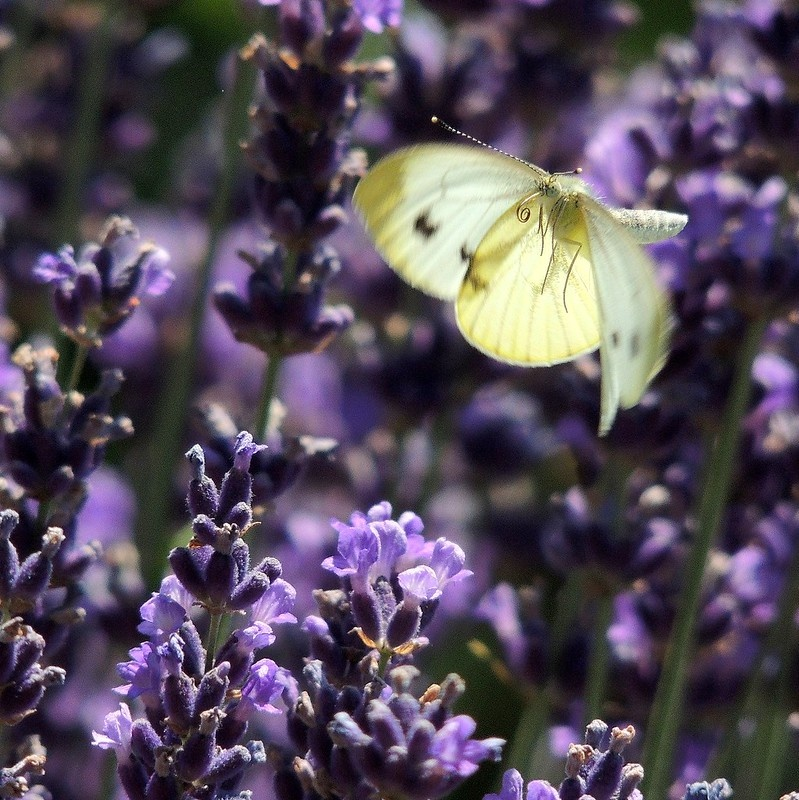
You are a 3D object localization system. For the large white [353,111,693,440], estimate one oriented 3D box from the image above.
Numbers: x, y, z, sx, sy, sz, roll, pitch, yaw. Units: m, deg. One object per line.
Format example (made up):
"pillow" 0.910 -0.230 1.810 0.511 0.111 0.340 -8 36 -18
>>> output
"large white" 0.177 -0.188 2.078 0.502 0.266 0.378 37 -5 25
